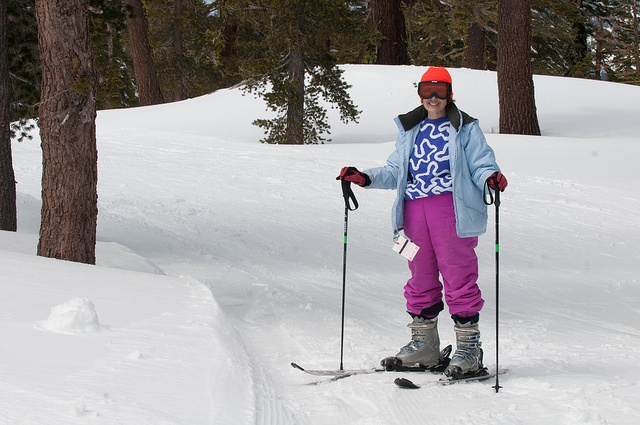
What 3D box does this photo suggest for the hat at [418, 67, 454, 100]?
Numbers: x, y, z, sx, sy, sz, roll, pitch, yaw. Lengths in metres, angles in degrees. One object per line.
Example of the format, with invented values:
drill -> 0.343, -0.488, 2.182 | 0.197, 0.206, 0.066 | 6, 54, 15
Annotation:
hat -> 1.168, -1.303, 6.859 | 0.282, 0.325, 0.362 | 0, -2, 13

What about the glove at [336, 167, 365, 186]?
glove -> 0.332, -0.360, 7.116 | 0.258, 0.099, 0.186 | 20, -11, 11

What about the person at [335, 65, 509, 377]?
person -> 1.244, 0.072, 6.835 | 1.042, 3.056, 0.501 | 0, 4, 14

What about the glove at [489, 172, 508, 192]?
glove -> 1.744, -0.296, 6.605 | 0.189, 0.141, 0.093 | 30, 11, 10
